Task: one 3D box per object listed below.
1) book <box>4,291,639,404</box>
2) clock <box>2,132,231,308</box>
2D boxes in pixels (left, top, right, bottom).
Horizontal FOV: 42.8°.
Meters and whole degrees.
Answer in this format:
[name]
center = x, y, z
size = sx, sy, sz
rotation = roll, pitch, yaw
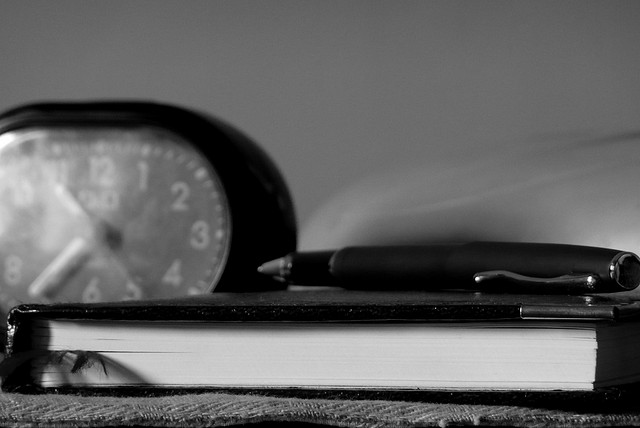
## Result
[book]
center = -0.004, 0.093, 0.553
size = 0.438, 0.069, 0.054
rotation = 0, -29, 7
[clock]
center = -0.183, 0.010, 0.723
size = 0.187, 0.096, 0.024
rotation = 0, -11, 4
